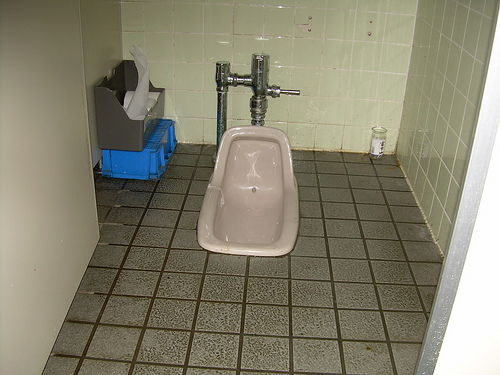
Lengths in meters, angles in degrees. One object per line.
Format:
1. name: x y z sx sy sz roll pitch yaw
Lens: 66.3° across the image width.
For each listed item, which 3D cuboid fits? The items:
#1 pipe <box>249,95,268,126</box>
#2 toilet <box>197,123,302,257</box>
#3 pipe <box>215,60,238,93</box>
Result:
1. pipe: 0.063 -0.510 2.557 0.109 0.195 0.158 -3 27 -11
2. toilet: 0.015 0.032 2.368 0.564 0.322 0.890 5 53 4
3. pipe: -0.172 -0.775 2.693 0.141 0.221 0.218 -2 27 -10
